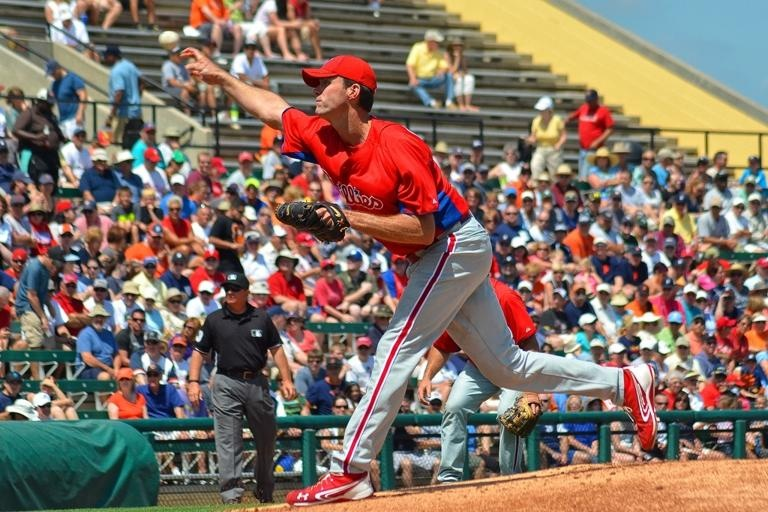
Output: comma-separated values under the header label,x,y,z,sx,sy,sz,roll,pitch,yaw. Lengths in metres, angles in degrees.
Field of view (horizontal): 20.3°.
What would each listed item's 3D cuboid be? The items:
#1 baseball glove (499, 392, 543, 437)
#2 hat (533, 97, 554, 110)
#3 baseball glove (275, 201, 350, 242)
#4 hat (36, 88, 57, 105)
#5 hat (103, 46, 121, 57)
label,x,y,z,sx,sy,sz,roll,pitch,yaw
baseball glove,1.892,2.156,29.193,0.450,0.622,0.261,44,-3,-5
hat,2.998,-2.808,39.774,0.264,0.222,0.415,18,8,36
baseball glove,-0.954,-0.524,28.465,0.740,0.361,0.558,15,-10,-4
hat,-5.780,-2.786,36.718,0.317,0.199,0.463,23,11,-24
hat,-4.777,-3.668,37.769,0.240,0.239,0.197,10,1,3
